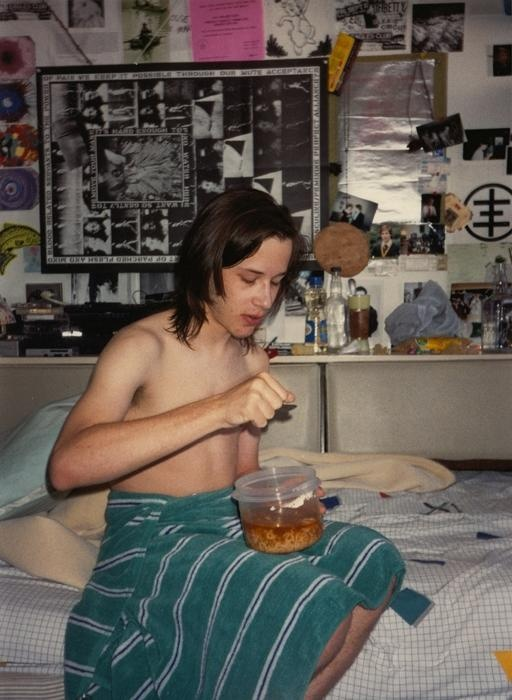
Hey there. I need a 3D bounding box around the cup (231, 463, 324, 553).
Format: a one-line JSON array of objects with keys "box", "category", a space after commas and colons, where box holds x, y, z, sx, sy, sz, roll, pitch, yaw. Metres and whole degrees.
[{"box": [0.052, 0.289, 1.145, 0.166, 0.110, 0.154, -6, 7, 1], "category": "cup"}]

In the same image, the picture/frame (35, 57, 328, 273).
[{"box": [-0.270, -0.775, 2.462, 1.248, 0.738, 0.022, 0, 2, -1], "category": "picture/frame"}]
